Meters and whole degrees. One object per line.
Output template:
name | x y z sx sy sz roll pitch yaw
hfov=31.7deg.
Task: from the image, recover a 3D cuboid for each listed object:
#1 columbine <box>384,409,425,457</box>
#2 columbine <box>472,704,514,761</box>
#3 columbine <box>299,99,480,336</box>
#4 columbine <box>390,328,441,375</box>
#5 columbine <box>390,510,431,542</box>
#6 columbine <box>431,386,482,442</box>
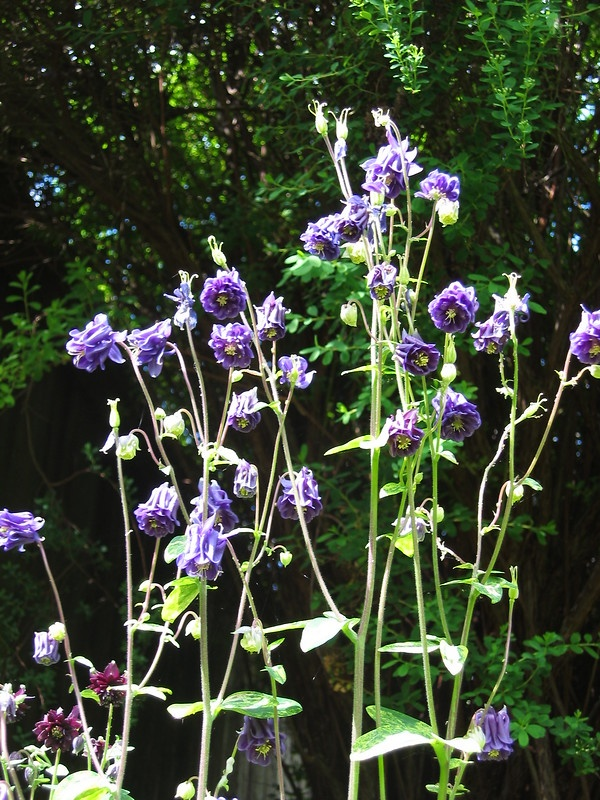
columbine | 0.208 0.066 2.103 0.071 0.093 0.077 -3 -2 3
columbine | 0.430 0.725 2.321 0.084 0.086 0.078 3 -11 -6
columbine | 0.172 -0.399 2.347 0.346 0.566 0.503 -3 -2 -7
columbine | 0.237 -0.092 2.149 0.086 0.094 0.065 -3 -2 7
columbine | 0.232 0.268 2.235 0.075 0.073 0.031 -22 30 28
columbine | 0.337 0.029 2.284 0.128 0.108 0.074 -7 3 11
